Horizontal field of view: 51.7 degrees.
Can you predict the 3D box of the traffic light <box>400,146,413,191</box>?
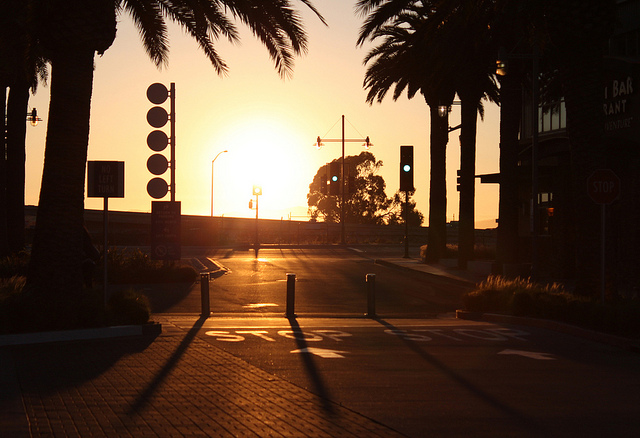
[{"bbox_3d":[5.845,-3.462,44.890,0.772,2.984,1.247,0,-1,4],"label":"traffic light"}]
